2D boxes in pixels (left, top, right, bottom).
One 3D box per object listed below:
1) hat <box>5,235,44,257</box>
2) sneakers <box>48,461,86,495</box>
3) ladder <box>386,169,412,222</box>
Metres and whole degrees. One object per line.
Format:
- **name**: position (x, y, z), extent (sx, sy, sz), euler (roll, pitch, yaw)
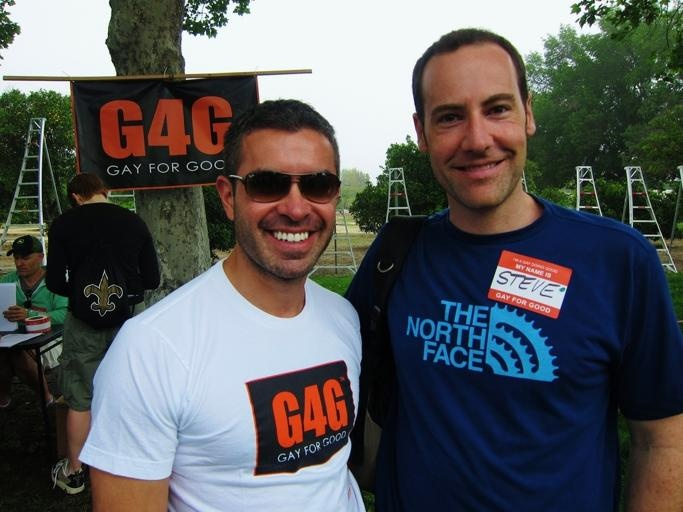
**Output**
- **hat**: position (-3.298, -0.083, 5.561), extent (0.219, 0.201, 0.324), euler (-1, -6, 13)
- **sneakers**: position (-2.392, 1.870, 4.612), extent (0.425, 0.222, 0.179), euler (13, 8, 37)
- **ladder**: position (2.061, -1.786, 19.049), extent (0.888, 2.757, 1.034), euler (-5, 14, 8)
